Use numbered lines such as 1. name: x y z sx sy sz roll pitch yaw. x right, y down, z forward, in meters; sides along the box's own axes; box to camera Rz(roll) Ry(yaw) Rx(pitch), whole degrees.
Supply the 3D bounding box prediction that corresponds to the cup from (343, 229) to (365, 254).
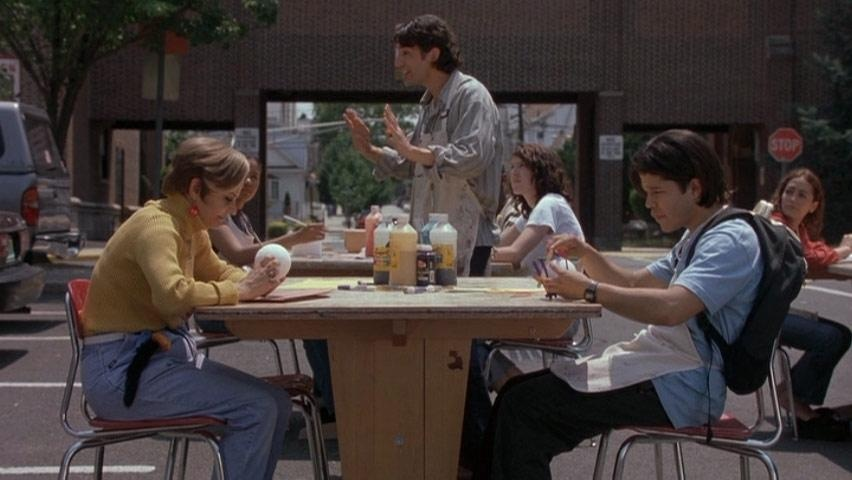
1. cup: -0.976 0.034 11.878 0.279 0.300 0.292 -1 2 0
